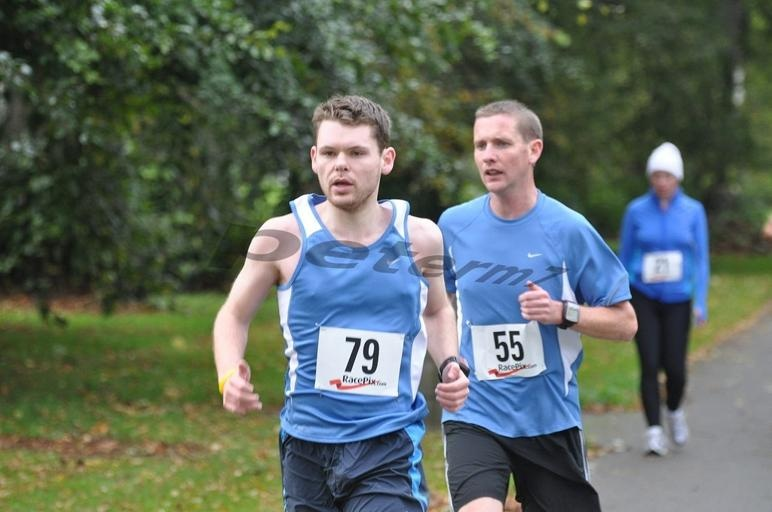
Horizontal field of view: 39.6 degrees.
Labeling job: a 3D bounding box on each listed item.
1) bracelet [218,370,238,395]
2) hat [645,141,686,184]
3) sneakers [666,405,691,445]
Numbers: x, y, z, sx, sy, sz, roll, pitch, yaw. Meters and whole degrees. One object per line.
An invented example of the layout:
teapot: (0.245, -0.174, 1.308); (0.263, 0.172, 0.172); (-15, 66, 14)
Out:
bracelet: (-1.035, 0.829, 6.970); (0.147, 0.170, 0.065); (-1, 17, -44)
hat: (2.412, -0.797, 9.242); (0.284, 0.335, 0.407); (-3, 3, 13)
sneakers: (2.294, 1.328, 8.383); (0.088, 0.271, 0.106); (-19, -31, 31)
